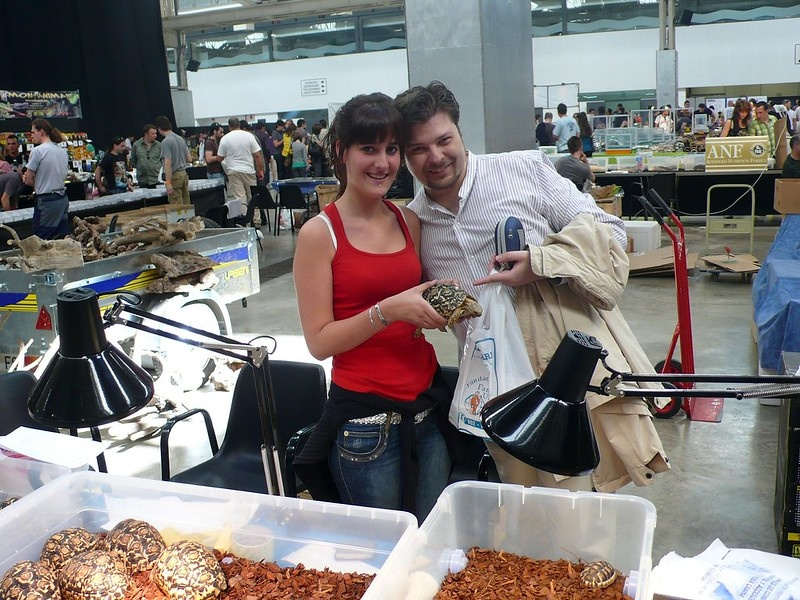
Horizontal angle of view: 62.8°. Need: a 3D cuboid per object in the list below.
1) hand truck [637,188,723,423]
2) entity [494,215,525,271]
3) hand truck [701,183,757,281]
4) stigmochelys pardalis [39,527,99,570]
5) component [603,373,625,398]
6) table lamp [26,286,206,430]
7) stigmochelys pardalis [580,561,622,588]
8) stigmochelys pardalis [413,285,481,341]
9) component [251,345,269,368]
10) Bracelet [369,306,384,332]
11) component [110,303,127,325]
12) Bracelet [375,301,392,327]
[{"bbox_3d":[1.797,0.010,4.084,0.454,1.349,0.558,0,4,32],"label":"hand truck"},{"bbox_3d":[0.368,-0.203,2.131,0.080,0.169,0.115,13,30,43],"label":"entity"},{"bbox_3d":[3.728,-0.770,7.363,0.578,1.025,0.754,3,16,28],"label":"hand truck"},{"bbox_3d":[-0.862,0.624,1.725,0.134,0.068,0.122,12,15,39],"label":"stigmochelys pardalis"},{"bbox_3d":[0.428,0.167,1.318,0.038,0.043,0.044,3,10,19],"label":"component"},{"bbox_3d":[-0.741,0.138,1.554,0.270,0.320,0.173,-5,11,-29],"label":"table lamp"},{"bbox_3d":[0.506,0.685,1.633,0.109,0.040,0.058,0,10,-3],"label":"stigmochelys pardalis"},{"bbox_3d":[0.160,0.010,1.946,0.210,0.118,0.080,-6,11,-32],"label":"stigmochelys pardalis"},{"bbox_3d":[-0.368,0.150,1.717,0.038,0.034,0.054,-4,4,-18],"label":"component"},{"bbox_3d":[-0.068,0.051,1.889,0.048,0.062,0.028,-2,-4,-30],"label":"Bracelet"},{"bbox_3d":[-0.724,0.025,1.648,0.018,0.052,0.051,26,0,10],"label":"component"},{"bbox_3d":[-0.054,0.040,1.893,0.042,0.069,0.020,2,9,10],"label":"Bracelet"}]
